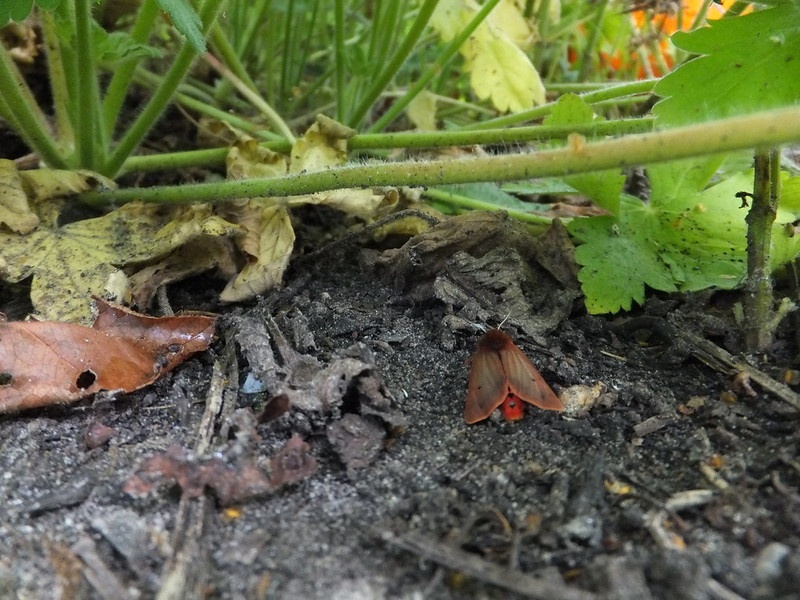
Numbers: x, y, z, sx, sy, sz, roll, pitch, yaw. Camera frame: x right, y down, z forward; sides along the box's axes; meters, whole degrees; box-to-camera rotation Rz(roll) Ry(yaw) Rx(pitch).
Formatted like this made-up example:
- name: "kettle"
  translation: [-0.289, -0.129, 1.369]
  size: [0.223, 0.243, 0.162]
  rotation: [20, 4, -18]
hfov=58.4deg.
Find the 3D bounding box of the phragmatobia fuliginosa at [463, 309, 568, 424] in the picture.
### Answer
- name: "phragmatobia fuliginosa"
  translation: [0.370, 0.247, 2.330]
  size: [0.309, 0.193, 0.257]
  rotation: [-1, 34, 4]
